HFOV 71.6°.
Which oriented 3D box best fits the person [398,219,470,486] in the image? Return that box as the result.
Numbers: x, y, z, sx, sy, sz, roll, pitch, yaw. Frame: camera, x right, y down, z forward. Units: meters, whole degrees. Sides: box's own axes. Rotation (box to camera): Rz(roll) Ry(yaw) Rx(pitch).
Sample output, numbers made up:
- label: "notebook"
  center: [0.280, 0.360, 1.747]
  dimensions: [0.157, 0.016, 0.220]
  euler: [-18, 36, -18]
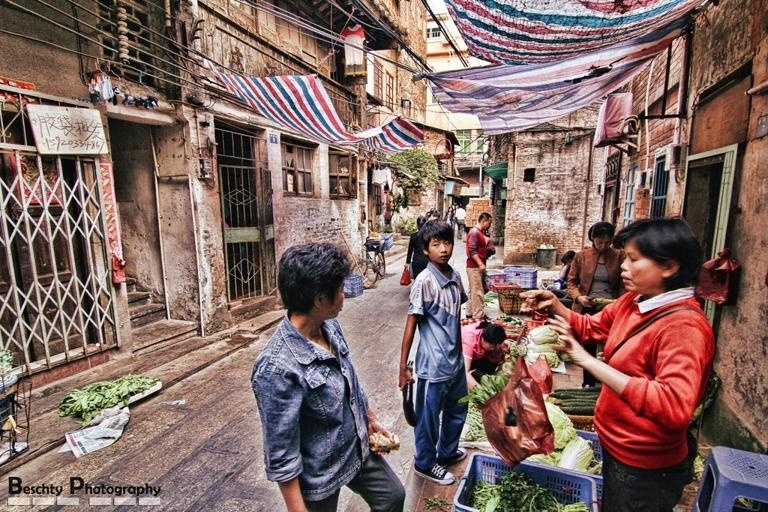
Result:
- label: "person"
  center: [0.499, 1.065, 6.056]
  dimensions: [0.906, 2.641, 1.016]
  euler: [0, -1, -10]

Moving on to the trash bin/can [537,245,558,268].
- label: "trash bin/can"
  center: [4.292, -0.004, 14.120]
  dimensions: [0.533, 0.589, 0.553]
  euler: [0, 3, -1]

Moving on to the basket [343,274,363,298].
- label: "basket"
  center: [-0.648, 0.638, 11.478]
  dimensions: [0.449, 0.460, 0.716]
  euler: [-1, -4, 4]

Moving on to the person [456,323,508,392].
- label: "person"
  center: [1.186, 1.131, 6.481]
  dimensions: [0.555, 0.838, 0.674]
  euler: [-1, -3, -43]

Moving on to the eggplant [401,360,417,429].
- label: "eggplant"
  center: [0.240, 1.457, 5.678]
  dimensions: [0.173, 0.665, 0.208]
  euler: [-7, -25, 16]
